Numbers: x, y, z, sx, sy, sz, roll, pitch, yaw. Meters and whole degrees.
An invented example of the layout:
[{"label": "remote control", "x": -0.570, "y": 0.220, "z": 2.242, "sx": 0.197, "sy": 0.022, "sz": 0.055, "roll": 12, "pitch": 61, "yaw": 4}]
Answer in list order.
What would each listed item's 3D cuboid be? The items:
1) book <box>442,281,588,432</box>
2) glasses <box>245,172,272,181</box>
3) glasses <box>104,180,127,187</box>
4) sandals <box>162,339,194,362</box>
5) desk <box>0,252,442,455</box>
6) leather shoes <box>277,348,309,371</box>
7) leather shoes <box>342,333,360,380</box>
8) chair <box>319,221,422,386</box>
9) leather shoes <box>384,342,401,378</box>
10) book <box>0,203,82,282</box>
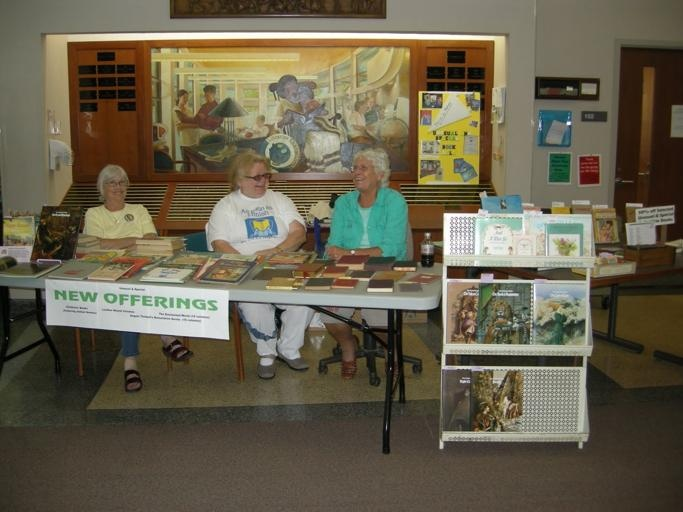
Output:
[{"label": "book", "x": 0.941, "y": 0.534, "z": 3.244, "sx": 0.783, "sy": 0.772, "sz": 0.467, "roll": 0, "pitch": 11, "yaw": 2}, {"label": "glasses", "x": -0.574, "y": -0.586, "z": 4.298, "sx": 0.204, "sy": 0.058, "sz": 0.077, "roll": -13, "pitch": 19, "yaw": -39}, {"label": "glasses", "x": -1.678, "y": -0.563, "z": 4.508, "sx": 0.157, "sy": 0.053, "sz": 0.076, "roll": -11, "pitch": 18, "yaw": -35}, {"label": "sandals", "x": -1.183, "y": 0.685, "z": 4.342, "sx": 0.117, "sy": 0.097, "sz": 0.291, "roll": -11, "pitch": 11, "yaw": -34}, {"label": "desk", "x": -0.342, "y": 0.523, "z": 3.665, "sx": 1.868, "sy": 0.899, "sz": 0.756, "roll": 3, "pitch": 15, "yaw": 12}, {"label": "leather shoes", "x": -0.354, "y": 0.756, "z": 4.367, "sx": 0.238, "sy": 0.098, "sz": 0.105, "roll": 18, "pitch": 21, "yaw": 22}, {"label": "leather shoes", "x": 0.054, "y": 0.706, "z": 4.280, "sx": 0.097, "sy": 0.325, "sz": 0.137, "roll": 2, "pitch": -23, "yaw": 8}, {"label": "chair", "x": 0.175, "y": 0.191, "z": 4.673, "sx": 0.995, "sy": 1.454, "sz": 1.047, "roll": 2, "pitch": 13, "yaw": 0}, {"label": "leather shoes", "x": 0.283, "y": 0.593, "z": 3.465, "sx": 0.077, "sy": 0.211, "sz": 0.231, "roll": -12, "pitch": -12, "yaw": 17}, {"label": "book", "x": -1.799, "y": -0.098, "z": 3.733, "sx": 0.317, "sy": 0.341, "sz": 0.469, "roll": 6, "pitch": 17, "yaw": 9}]
